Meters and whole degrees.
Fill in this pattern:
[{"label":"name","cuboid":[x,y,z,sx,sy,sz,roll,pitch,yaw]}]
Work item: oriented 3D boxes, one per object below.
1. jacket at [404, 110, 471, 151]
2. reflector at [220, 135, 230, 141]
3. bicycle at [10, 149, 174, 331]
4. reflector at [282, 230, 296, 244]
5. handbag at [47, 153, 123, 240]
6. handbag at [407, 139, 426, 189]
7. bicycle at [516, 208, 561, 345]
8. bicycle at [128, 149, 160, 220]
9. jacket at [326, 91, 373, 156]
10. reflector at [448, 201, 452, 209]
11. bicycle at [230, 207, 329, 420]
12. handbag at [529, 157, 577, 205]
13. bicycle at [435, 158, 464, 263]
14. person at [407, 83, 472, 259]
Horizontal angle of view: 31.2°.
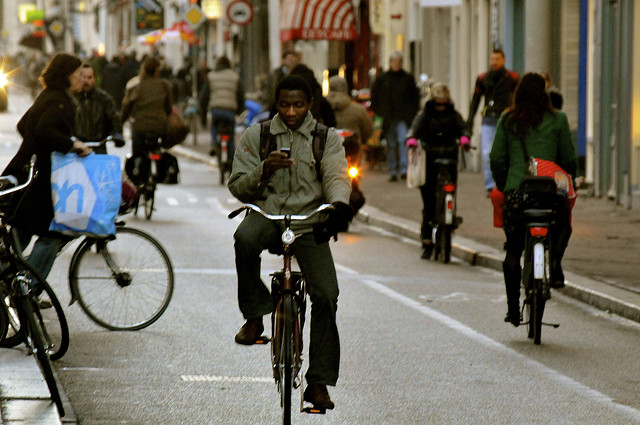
[{"label":"jacket","cuboid":[1.602,-1.052,15.166,0.847,0.663,0.430,2,-9,0]},{"label":"reflector","cuboid":[-1.881,-1.492,22.779,0.106,0.031,0.126,-2,55,-4]},{"label":"bicycle","cuboid":[-2.393,0.534,11.079,1.829,1.382,0.997,3,2,-5]},{"label":"reflector","cuboid":[-0.233,0.182,8.650,0.095,0.113,0.204,-1,8,-2]},{"label":"handbag","cuboid":[-2.213,-0.177,10.644,0.668,0.946,0.351,5,35,-7]},{"label":"handbag","cuboid":[1.265,-0.619,14.816,0.236,0.604,0.286,0,7,5]},{"label":"bicycle","cuboid":[2.092,0.588,10.902,0.352,1.293,0.474,-3,7,-19]},{"label":"bicycle","cuboid":[-2.834,-0.434,17.472,0.637,0.994,1.535,6,4,-8]},{"label":"jacket","cuboid":[0.778,-1.406,17.215,0.579,1.110,1.472,1,-3,-2]},{"label":"reflector","cuboid":[1.682,-0.090,14.654,0.056,0.095,0.024,-3,7,-20]},{"label":"bicycle","cuboid":[-0.306,0.772,8.672,0.467,1.615,0.803,-2,7,-12]},{"label":"handbag","cuboid":[2.256,-0.290,10.903,0.645,0.474,0.298,-7,10,-37]},{"label":"bicycle","cuboid":[1.656,-0.011,14.742,0.336,1.338,0.531,-1,7,-6]},{"label":"person","cuboid":[1.556,-0.775,15.237,0.666,1.569,2.122,6,17,-12]}]
